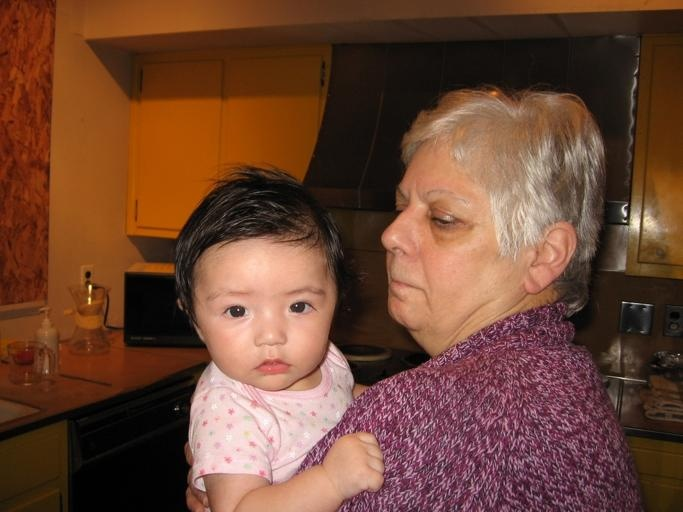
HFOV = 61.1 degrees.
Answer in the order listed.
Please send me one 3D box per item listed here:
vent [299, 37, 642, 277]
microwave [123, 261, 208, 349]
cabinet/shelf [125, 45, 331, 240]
[{"bbox_3d":[0.443,-0.547,2.747,1.395,0.941,0.467,13,18,37],"label":"vent"},{"bbox_3d":[-0.809,0.292,3.098,0.569,0.384,0.403,-1,-2,17],"label":"microwave"},{"bbox_3d":[-0.603,-0.587,3.327,1.118,1.037,0.407,5,4,19],"label":"cabinet/shelf"}]
